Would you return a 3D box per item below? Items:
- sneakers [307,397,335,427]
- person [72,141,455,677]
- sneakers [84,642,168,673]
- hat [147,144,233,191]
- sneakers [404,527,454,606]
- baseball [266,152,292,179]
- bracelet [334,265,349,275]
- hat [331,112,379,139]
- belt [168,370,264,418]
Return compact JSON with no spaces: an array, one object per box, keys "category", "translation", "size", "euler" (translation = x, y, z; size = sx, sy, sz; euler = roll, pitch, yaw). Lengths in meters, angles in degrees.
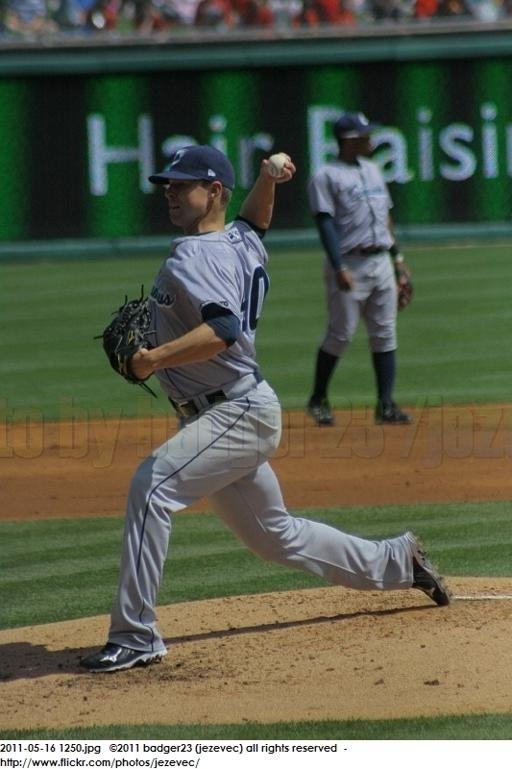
[{"category":"sneakers","translation":[0.393,0.174,8.029],"size":[0.080,0.161,0.234],"euler":[-4,-3,-11]},{"category":"person","translation":[-0.110,0.065,4.960],"size":[1.209,1.807,0.476],"euler":[-8,15,-27]},{"category":"sneakers","translation":[-0.462,0.963,4.929],"size":[0.278,0.120,0.108],"euler":[-1,-1,-18]},{"category":"hat","translation":[-0.226,-0.763,4.935],"size":[0.245,0.128,0.164],"euler":[5,3,-8]},{"category":"sneakers","translation":[0.700,0.751,5.583],"size":[0.098,0.292,0.128],"euler":[-43,15,7]},{"category":"baseball","translation":[0.081,-0.820,5.149],"size":[0.090,0.077,0.043],"euler":[-48,6,-10]},{"category":"bracelet","translation":[0.451,-0.601,7.255],"size":[0.049,0.051,0.052],"euler":[12,18,42]},{"category":"hat","translation":[0.553,-1.400,7.506],"size":[0.196,0.103,0.143],"euler":[-15,29,-21]},{"category":"belt","translation":[-0.142,0.050,4.927],"size":[0.336,0.187,0.212],"euler":[0,13,4]}]
